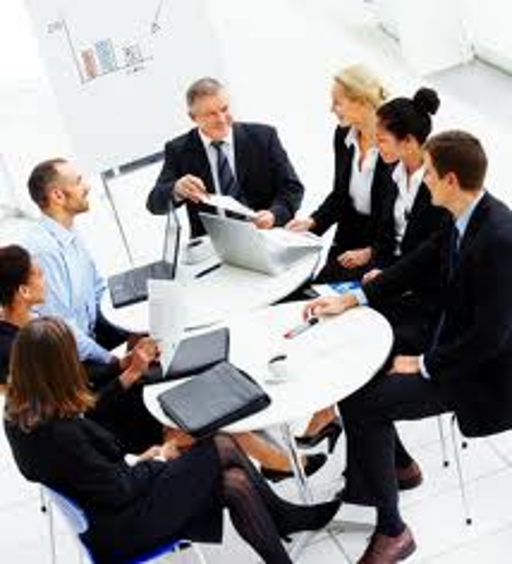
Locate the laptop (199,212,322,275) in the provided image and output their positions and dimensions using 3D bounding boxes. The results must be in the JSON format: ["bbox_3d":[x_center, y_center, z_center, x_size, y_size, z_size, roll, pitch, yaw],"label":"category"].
[{"bbox_3d":[0.032,-0.179,2.250,0.389,0.237,0.366,-26,33,-33],"label":"laptop"}]

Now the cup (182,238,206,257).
[{"bbox_3d":[-0.308,-0.174,2.487,0.106,0.070,0.077,-8,33,1],"label":"cup"}]

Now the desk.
[{"bbox_3d":[-0.009,0.536,1.957,1.055,0.689,1.077,-19,42,-6],"label":"desk"}]

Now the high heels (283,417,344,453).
[{"bbox_3d":[0.231,0.644,2.130,0.322,0.164,0.094,0,4,-17],"label":"high heels"}]

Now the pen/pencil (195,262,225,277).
[{"bbox_3d":[-0.212,-0.057,2.328,0.019,0.018,0.161,4,23,34],"label":"pen/pencil"}]

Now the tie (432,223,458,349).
[{"bbox_3d":[0.634,-0.006,1.671,0.062,0.456,0.052,5,-13,12],"label":"tie"}]

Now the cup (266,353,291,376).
[{"bbox_3d":[0.074,0.242,1.490,0.054,0.044,0.066,-8,26,-3],"label":"cup"}]

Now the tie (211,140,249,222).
[{"bbox_3d":[-0.168,-0.610,2.903,0.118,0.588,0.071,-18,15,3],"label":"tie"}]
